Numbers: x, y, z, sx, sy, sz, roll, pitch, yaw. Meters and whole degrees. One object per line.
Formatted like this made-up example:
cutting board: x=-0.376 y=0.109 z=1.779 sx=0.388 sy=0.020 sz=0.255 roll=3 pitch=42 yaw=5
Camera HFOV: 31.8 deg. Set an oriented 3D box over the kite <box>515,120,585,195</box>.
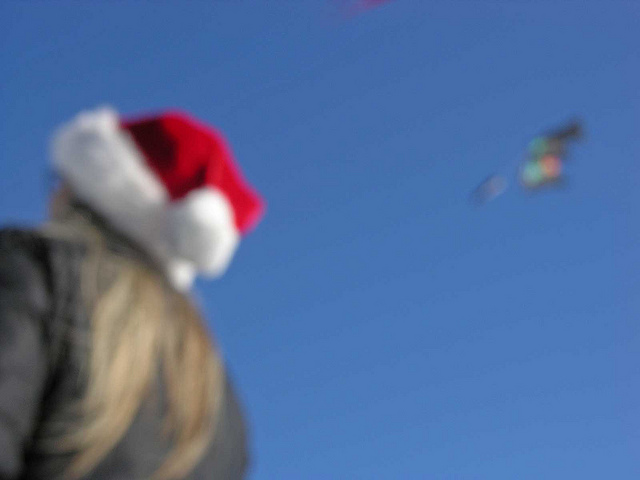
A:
kite: x=0.409 y=-0.149 z=2.019 sx=0.100 sy=0.042 sz=0.153 roll=36 pitch=-64 yaw=-29
